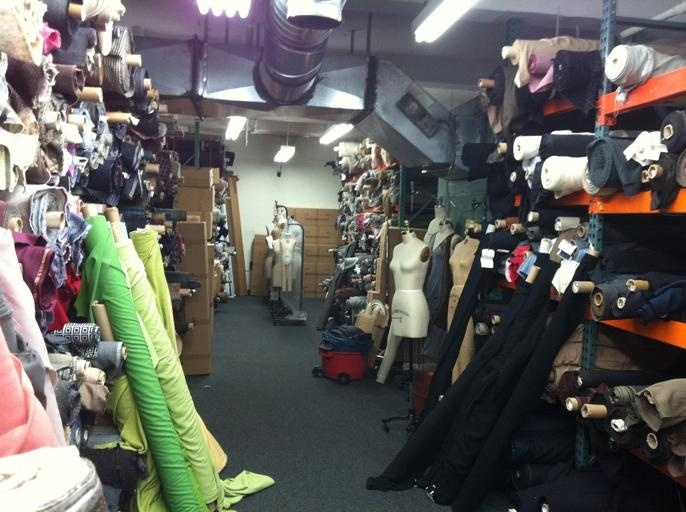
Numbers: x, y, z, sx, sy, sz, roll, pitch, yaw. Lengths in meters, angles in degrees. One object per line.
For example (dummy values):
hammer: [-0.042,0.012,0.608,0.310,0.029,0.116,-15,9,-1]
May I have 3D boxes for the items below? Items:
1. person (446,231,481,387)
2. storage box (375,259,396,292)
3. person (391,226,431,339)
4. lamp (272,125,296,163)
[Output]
person: [0.935,0.405,4.535,0.220,1.083,0.740,2,6,10]
storage box: [0.473,0.222,6.412,0.129,0.462,0.349,2,-2,-5]
person: [0.599,0.268,5.060,0.321,0.956,0.433,-2,6,-23]
lamp: [-1.213,-2.288,11.769,0.384,0.989,0.101,15,-5,16]
